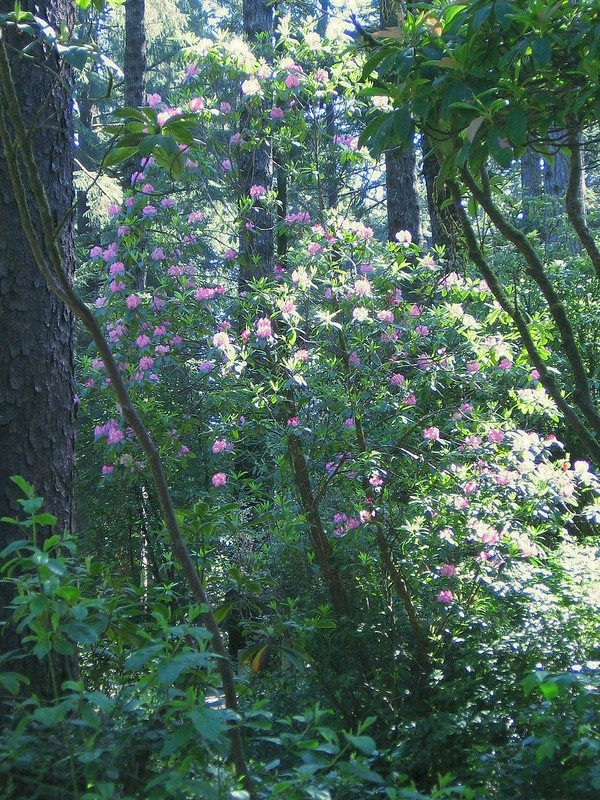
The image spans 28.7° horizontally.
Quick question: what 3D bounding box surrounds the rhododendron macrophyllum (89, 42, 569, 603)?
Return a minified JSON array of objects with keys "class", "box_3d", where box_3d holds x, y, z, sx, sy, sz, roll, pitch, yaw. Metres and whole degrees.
[{"class":"rhododendron macrophyllum","box_3d":[-0.106,-0.334,6.046,2.012,2.667,2.067,-6,-5,-9]}]
